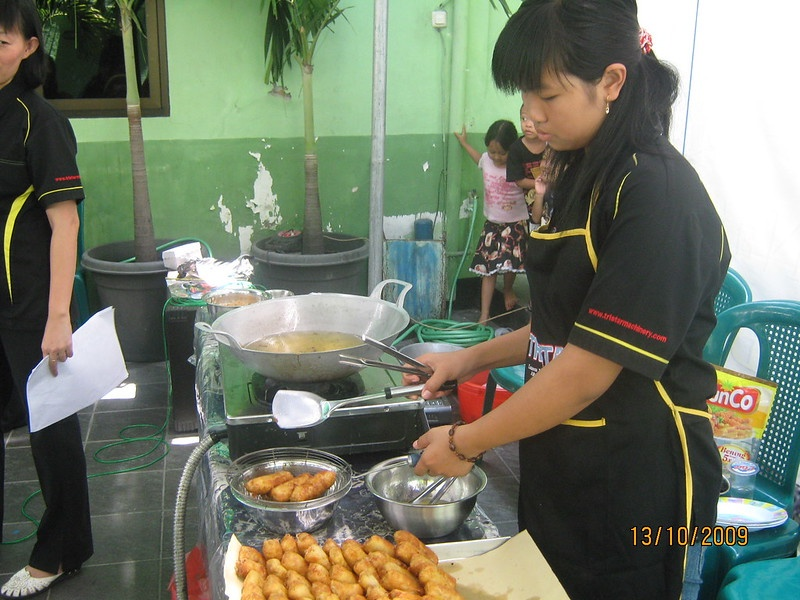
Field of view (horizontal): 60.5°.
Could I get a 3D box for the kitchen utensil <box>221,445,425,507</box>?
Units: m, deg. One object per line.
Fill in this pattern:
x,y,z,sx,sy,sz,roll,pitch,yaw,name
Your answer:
-0.269,0.433,1.698,0.330,0.060,0.196,-1,13,-22,kitchen utensil

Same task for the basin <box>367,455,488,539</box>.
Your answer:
0.043,0.488,1.662,0.202,0.082,0.209,-1,16,0,basin

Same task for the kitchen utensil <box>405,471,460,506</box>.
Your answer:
0.082,0.465,1.686,0.027,0.113,0.026,25,23,-46,kitchen utensil

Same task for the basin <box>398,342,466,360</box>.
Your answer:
0.129,0.216,2.951,0.164,0.040,0.165,0,11,0,basin

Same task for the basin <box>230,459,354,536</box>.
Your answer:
-0.275,0.466,1.669,0.202,0.083,0.207,7,24,-3,basin

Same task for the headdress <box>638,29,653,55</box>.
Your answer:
0.540,-0.567,1.521,0.022,0.054,0.052,0,2,38,headdress

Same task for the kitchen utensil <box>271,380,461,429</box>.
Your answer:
-0.080,0.258,1.763,0.472,0.047,0.145,-4,41,-21,kitchen utensil

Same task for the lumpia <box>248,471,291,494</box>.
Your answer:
-0.321,0.441,1.660,0.087,0.031,0.044,-17,37,-23,lumpia

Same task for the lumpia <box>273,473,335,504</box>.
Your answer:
-0.235,0.445,1.649,0.118,0.034,0.062,-14,27,-26,lumpia

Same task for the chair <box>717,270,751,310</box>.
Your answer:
1.301,-0.035,2.676,0.105,0.105,0.107,-20,30,-8,chair

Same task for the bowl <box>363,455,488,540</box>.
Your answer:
0.059,0.500,1.694,0.257,0.107,0.261,4,2,0,bowl

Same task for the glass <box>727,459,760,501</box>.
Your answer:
1.235,0.646,2.430,0.079,0.114,0.082,-14,16,-29,glass

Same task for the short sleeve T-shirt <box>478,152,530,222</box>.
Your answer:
0.762,-0.827,4.952,0.278,0.497,0.422,-16,18,-42,short sleeve T-shirt

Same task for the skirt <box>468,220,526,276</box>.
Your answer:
0.731,-0.386,5.274,0.450,0.500,0.375,8,5,6,skirt

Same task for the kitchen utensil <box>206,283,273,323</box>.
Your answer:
-0.718,-0.009,2.932,0.206,0.091,0.227,6,9,26,kitchen utensil
